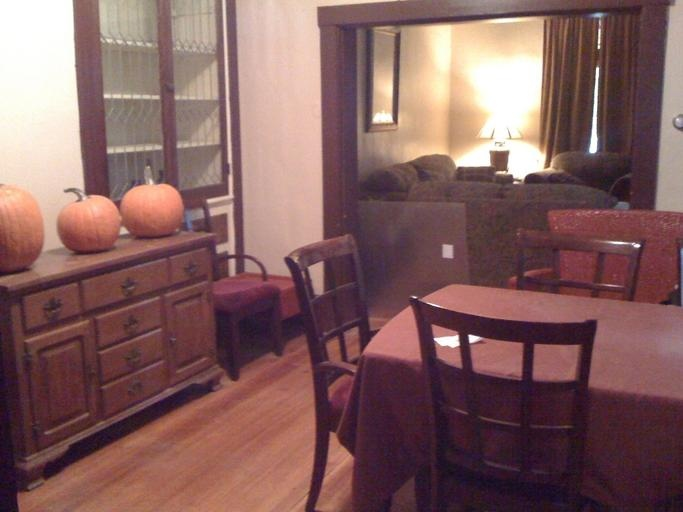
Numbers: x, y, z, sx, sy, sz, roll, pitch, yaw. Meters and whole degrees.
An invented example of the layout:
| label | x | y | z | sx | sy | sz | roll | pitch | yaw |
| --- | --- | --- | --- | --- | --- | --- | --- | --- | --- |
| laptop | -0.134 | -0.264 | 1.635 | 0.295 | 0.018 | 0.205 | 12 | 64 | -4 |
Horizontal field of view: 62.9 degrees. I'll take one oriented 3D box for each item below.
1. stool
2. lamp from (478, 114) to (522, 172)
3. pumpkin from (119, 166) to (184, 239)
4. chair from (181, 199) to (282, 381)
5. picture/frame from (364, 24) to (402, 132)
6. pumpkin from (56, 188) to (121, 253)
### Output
| label | x | y | z | sx | sy | sz | roll | pitch | yaw |
| --- | --- | --- | --- | --- | --- | --- | --- | --- | --- |
| stool | -0.489 | 0.215 | 3.962 | 0.493 | 0.245 | 0.360 | 2 | 6 | 30 |
| lamp | 1.149 | -0.805 | 4.094 | 0.284 | 0.426 | 0.270 | 5 | 17 | 41 |
| pumpkin | -1.084 | -0.310 | 3.211 | 0.329 | 0.394 | 0.324 | 16 | 24 | 41 |
| chair | -0.809 | 0.183 | 3.721 | 0.634 | 1.164 | 0.641 | -2 | 9 | 19 |
| picture/frame | 0.312 | -1.328 | 4.134 | 0.318 | 0.716 | 0.069 | -12 | 20 | -37 |
| pumpkin | -1.229 | -0.205 | 2.905 | 0.310 | 0.388 | 0.310 | -3 | 10 | -6 |
